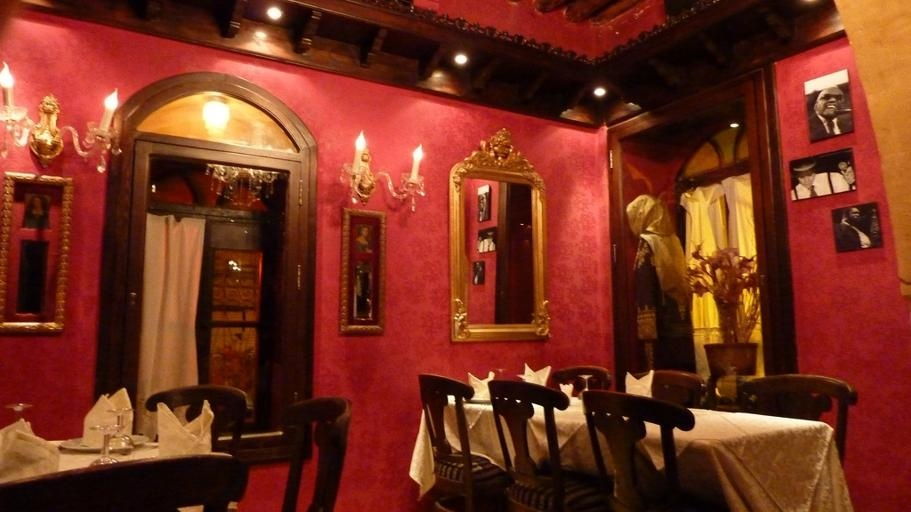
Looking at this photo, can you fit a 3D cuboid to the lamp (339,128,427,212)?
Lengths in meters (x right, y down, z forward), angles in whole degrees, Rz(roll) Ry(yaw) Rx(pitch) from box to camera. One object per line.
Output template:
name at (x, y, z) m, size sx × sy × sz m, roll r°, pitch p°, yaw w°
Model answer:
lamp at (-0.686, -0.753, 5.470) m, size 0.708 × 0.473 × 0.368 m, roll 14°, pitch -26°, yaw -35°

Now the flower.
flower at (2.155, 0.365, 5.435) m, size 0.690 × 0.812 × 0.783 m, roll -15°, pitch -28°, yaw 42°

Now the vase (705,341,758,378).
vase at (2.354, 0.918, 5.327) m, size 0.348 × 0.187 × 0.325 m, roll 4°, pitch -16°, yaw -7°

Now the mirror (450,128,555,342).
mirror at (0.409, -0.210, 5.910) m, size 1.082 × 2.021 × 0.194 m, roll 6°, pitch -11°, yaw -27°
